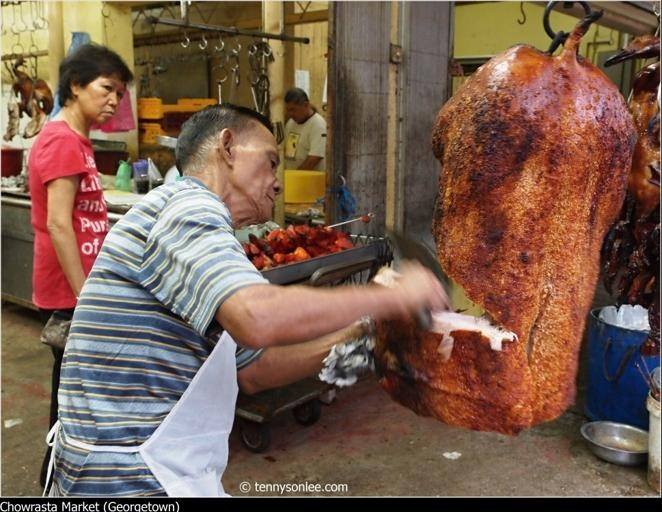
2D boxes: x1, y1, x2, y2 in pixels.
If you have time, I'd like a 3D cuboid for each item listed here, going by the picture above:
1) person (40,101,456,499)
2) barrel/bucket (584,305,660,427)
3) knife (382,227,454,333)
[{"bbox_3d":[-0.372,0.031,2.312,1.229,1.959,0.872,2,10,-23],"label":"person"},{"bbox_3d":[1.397,0.619,2.894,0.302,0.608,0.365,3,15,24],"label":"barrel/bucket"},{"bbox_3d":[0.226,0.048,1.641,0.056,0.288,0.188,-18,-12,27],"label":"knife"}]
